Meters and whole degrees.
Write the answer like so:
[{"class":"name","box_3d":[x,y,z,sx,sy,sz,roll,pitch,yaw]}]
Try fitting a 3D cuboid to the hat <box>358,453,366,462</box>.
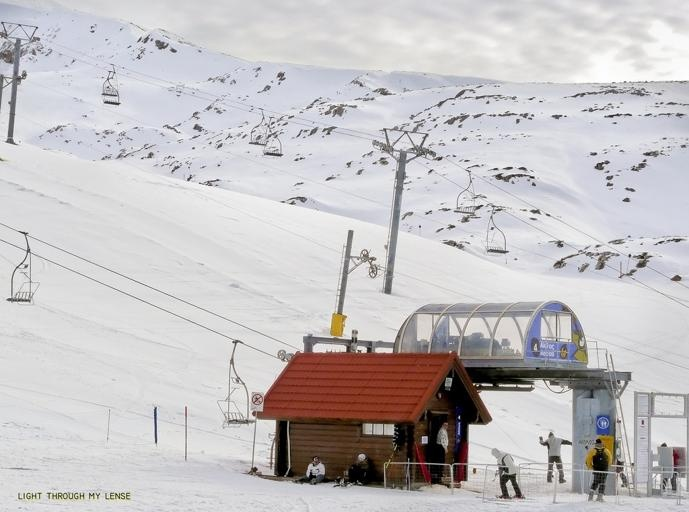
[{"class":"hat","box_3d":[1.420,15.891,133.227,0.577,0.560,0.219,5,-13,3]}]
